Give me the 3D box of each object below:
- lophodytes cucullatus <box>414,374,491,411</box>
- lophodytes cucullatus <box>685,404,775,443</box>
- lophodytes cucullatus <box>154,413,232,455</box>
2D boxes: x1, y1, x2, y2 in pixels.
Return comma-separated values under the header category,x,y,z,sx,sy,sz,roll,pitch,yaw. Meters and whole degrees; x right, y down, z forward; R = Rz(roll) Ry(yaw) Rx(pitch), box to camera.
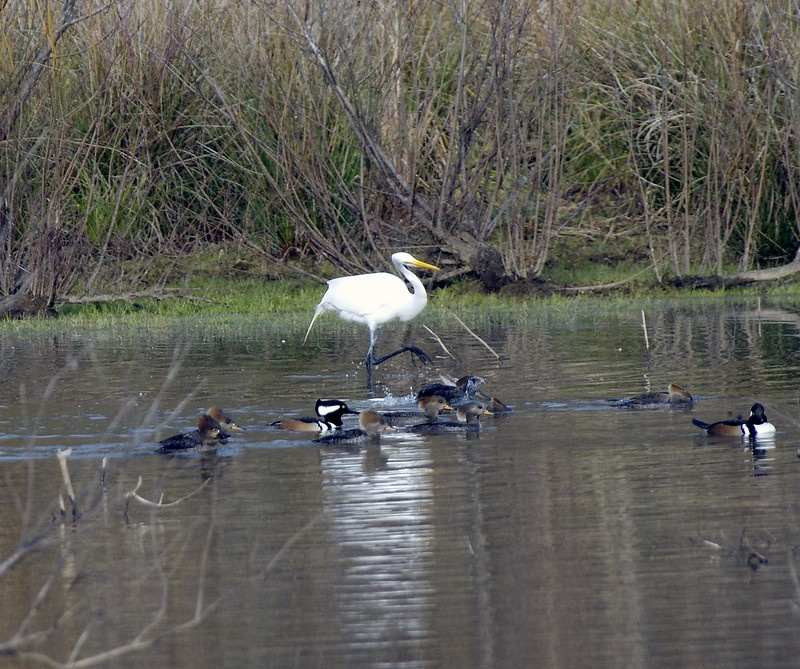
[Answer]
category,x,y,z,sx,sy,sz,roll,pitch,yaw
lophodytes cucullatus,0.578,0.622,14.520,0.741,0.509,0.301,14,12,-1
lophodytes cucullatus,3.020,0.815,12.607,0.821,0.511,0.317,-3,1,8
lophodytes cucullatus,-1.890,0.918,12.554,0.815,0.484,0.260,-6,14,-15
